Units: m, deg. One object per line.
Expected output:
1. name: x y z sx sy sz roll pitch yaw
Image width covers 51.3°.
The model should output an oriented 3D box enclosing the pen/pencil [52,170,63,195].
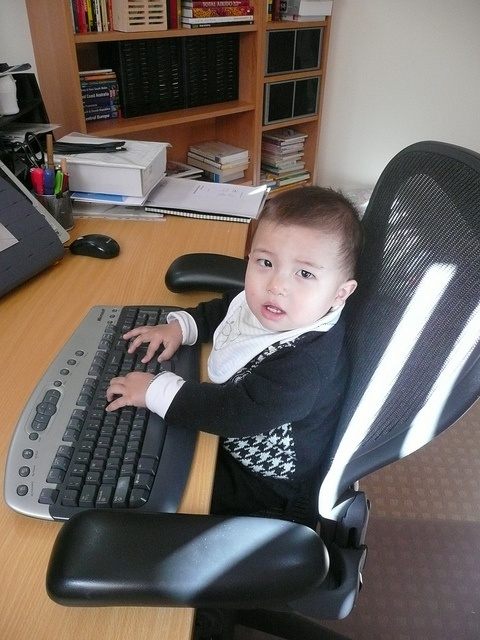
1. pen/pencil: -0.367 -0.275 0.999 0.019 0.061 0.013 -14 45 -27

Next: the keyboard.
1. keyboard: -0.139 0.111 0.530 0.149 0.040 0.280 3 36 2

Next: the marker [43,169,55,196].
1. marker: -0.382 -0.275 0.991 0.018 0.055 0.014 3 55 -12

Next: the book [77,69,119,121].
1. book: -0.493 -0.805 1.820 0.156 0.200 0.207 -10 37 -11

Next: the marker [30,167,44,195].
1. marker: -0.409 -0.282 1.007 0.028 0.045 0.047 -17 38 -18

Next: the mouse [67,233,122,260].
1. mouse: -0.280 -0.141 0.961 0.085 0.029 0.047 7 32 7
